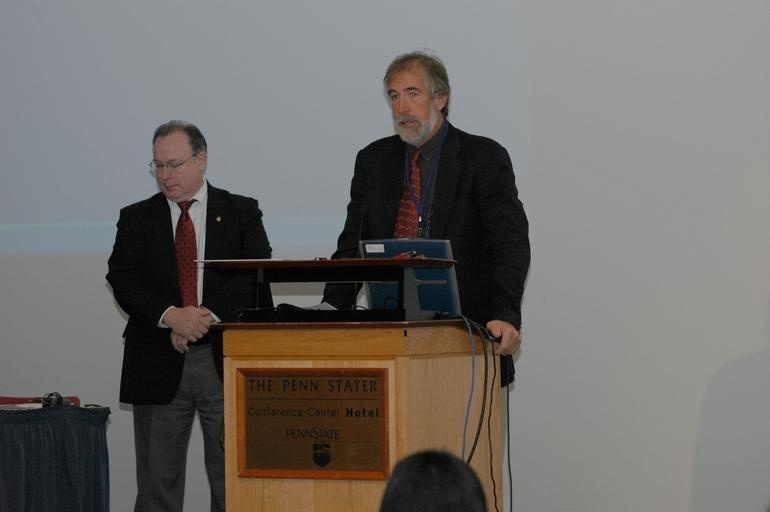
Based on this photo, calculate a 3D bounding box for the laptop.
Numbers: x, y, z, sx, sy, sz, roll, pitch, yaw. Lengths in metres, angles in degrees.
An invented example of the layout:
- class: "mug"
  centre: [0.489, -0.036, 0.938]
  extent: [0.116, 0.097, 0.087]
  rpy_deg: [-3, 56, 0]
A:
- class: "laptop"
  centre: [0.119, 0.107, 3.986]
  extent: [0.464, 0.362, 0.773]
  rpy_deg: [0, -6, -1]

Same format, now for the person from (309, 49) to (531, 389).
- class: "person"
  centre: [0.309, 0.107, 4.741]
  extent: [1.123, 2.374, 0.841]
  rpy_deg: [7, 18, 34]
